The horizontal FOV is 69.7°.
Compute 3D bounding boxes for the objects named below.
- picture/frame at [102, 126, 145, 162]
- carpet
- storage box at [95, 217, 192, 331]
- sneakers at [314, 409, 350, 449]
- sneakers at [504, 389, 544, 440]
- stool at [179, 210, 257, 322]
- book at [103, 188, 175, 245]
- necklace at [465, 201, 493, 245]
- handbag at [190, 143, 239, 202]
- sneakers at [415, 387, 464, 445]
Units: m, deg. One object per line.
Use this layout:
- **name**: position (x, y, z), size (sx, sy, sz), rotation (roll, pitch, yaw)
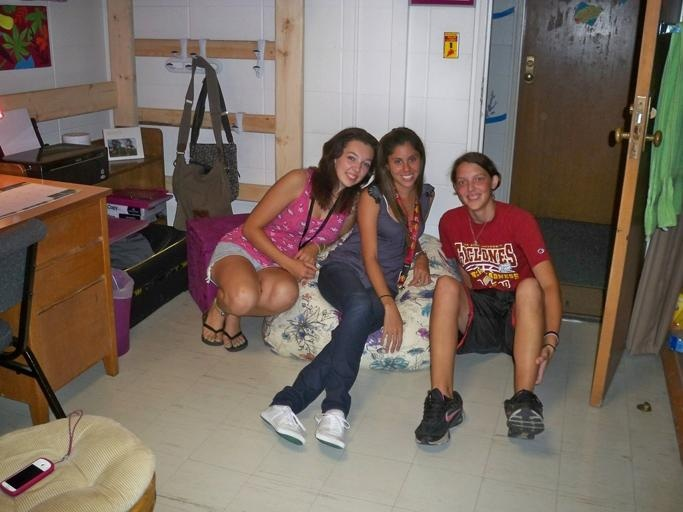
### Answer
- **picture/frame**: position (-1.637, -0.836, 3.648), size (0.365, 0.353, 0.027), rotation (-7, 1, -26)
- **carpet**: position (1.988, 0.000, 4.169), size (0.692, 0.172, 0.658), rotation (8, 33, -1)
- **storage box**: position (-1.196, 0.068, 3.159), size (0.596, 0.465, 0.616), rotation (15, 30, 28)
- **sneakers**: position (-0.035, 0.745, 2.114), size (0.097, 0.087, 0.201), rotation (27, -12, -2)
- **sneakers**: position (0.796, 0.694, 2.135), size (0.119, 0.269, 0.129), rotation (-2, 45, 13)
- **stool**: position (-0.854, 0.035, 3.075), size (0.534, 0.573, 0.540), rotation (2, 11, 14)
- **book**: position (-1.429, -0.305, 3.397), size (0.337, 0.159, 0.465), rotation (11, 19, 41)
- **necklace**: position (0.672, -0.141, 2.481), size (0.101, 0.144, 0.034), rotation (13, 19, 27)
- **handbag**: position (-0.922, -0.600, 3.483), size (0.359, 0.455, 0.190), rotation (2, 23, 8)
- **sneakers**: position (0.447, 0.681, 2.226), size (0.130, 0.191, 0.320), rotation (8, 18, 31)
